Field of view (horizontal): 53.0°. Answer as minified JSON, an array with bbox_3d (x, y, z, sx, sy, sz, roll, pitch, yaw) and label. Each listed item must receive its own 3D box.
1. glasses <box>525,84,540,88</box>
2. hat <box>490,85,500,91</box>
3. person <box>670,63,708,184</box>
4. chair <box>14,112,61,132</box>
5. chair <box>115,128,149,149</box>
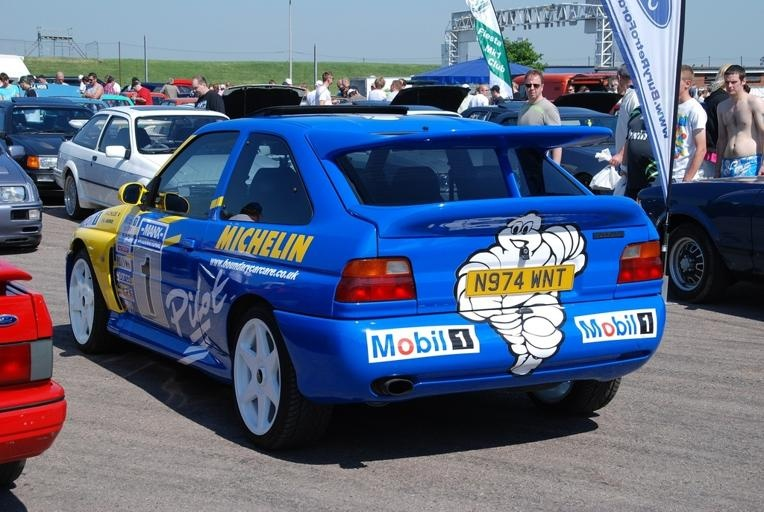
[{"bbox_3d":[2.145,-2.415,10.866,0.209,0.073,0.170,4,13,13],"label":"glasses"},{"bbox_3d":[2.945,-4.333,19.857,0.170,0.227,0.212,2,1,-30],"label":"hat"},{"bbox_3d":[3.769,-1.590,9.278,0.335,1.377,0.458,5,13,22],"label":"person"},{"bbox_3d":[-7.188,-2.766,15.796,0.474,0.348,0.750,-6,18,-35],"label":"chair"},{"bbox_3d":[-4.047,-1.867,12.527,0.339,0.473,0.177,0,50,-21],"label":"chair"}]
